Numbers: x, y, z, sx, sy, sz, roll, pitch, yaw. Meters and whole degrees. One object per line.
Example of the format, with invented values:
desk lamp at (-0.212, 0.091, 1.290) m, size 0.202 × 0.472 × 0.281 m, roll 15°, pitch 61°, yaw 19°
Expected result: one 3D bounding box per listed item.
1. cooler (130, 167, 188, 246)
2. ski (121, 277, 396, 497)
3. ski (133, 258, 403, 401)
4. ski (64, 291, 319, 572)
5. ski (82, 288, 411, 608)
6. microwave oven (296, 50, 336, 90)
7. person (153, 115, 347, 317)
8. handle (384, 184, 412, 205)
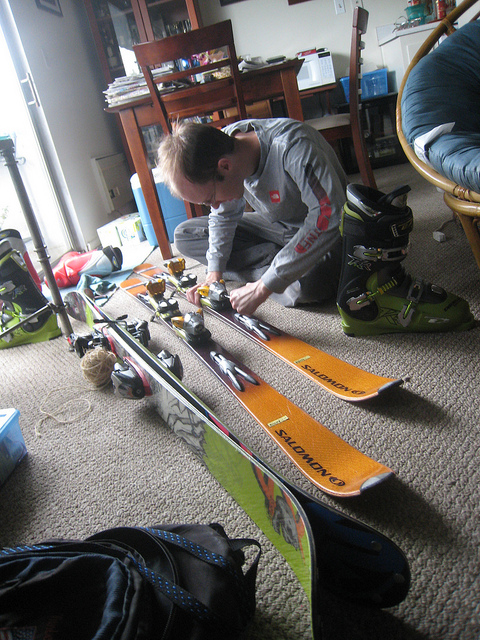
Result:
cooler at (-0.548, -0.769, 3.169) m, size 0.308 × 0.505 × 0.630 m, roll -20°, pitch 24°, yaw -7°
ski at (-0.001, 0.161, 1.260) m, size 0.107 × 0.053 × 1.082 m, roll -25°, pitch 26°, yaw -20°
ski at (0.055, 0.008, 1.507) m, size 0.108 × 0.102 × 1.041 m, roll -28°, pitch 36°, yaw -26°
ski at (-0.292, 0.163, 1.331) m, size 0.166 × 0.224 × 1.564 m, roll -37°, pitch 25°, yaw -9°
ski at (-0.040, 0.238, 1.009) m, size 0.114 × 0.177 × 0.960 m, roll -26°, pitch 26°, yaw -21°
microwave oven at (0.720, -2.379, 4.430) m, size 0.345 × 0.289 × 0.178 m, roll -11°, pitch 25°, yaw 12°
person at (0.052, -0.401, 1.730) m, size 0.739 × 0.672 × 0.645 m, roll 3°, pitch 32°, yaw 26°
handle at (0.423, -0.337, 1.241) m, size 0.062 × 0.015 × 0.037 m, roll -26°, pitch 13°, yaw 50°
